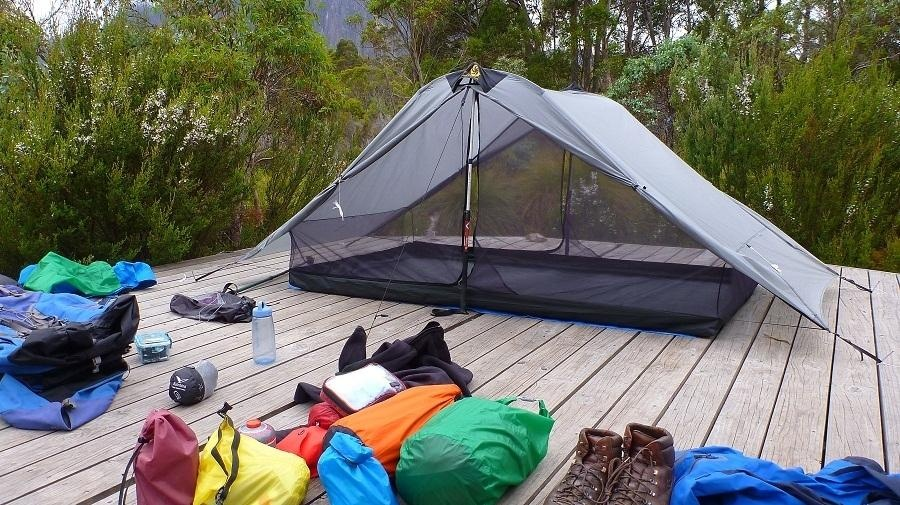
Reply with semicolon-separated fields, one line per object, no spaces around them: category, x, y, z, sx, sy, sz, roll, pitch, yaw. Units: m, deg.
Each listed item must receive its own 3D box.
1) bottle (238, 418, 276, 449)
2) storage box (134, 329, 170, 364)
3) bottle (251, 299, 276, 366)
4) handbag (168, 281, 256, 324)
bottle;-1.450;1.359;4.673;0.221;0.237;0.219;1;0;-1
storage box;-2.747;0.858;5.645;0.327;0.203;0.251;-6;13;-33
bottle;-1.701;0.727;5.593;0.223;0.570;0.261;-7;14;-19
handbag;-2.486;0.570;6.431;0.688;0.240;0.529;3;6;-3
